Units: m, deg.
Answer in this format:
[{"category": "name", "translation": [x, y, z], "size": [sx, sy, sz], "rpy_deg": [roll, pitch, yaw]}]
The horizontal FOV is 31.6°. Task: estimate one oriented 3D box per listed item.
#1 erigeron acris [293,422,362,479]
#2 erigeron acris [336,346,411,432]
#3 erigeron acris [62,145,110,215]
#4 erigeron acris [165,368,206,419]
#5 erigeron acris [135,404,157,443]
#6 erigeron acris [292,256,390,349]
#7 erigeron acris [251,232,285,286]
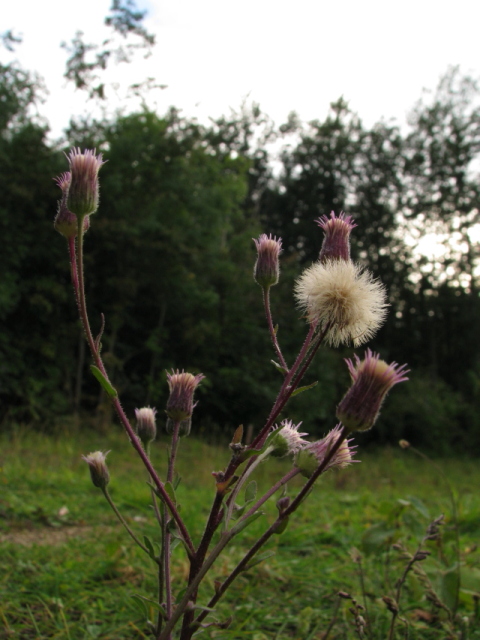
[{"category": "erigeron acris", "translation": [0.437, 0.594, 3.903], "size": [0.317, 0.149, 0.191], "rpy_deg": [-24, 40, -18]}, {"category": "erigeron acris", "translation": [0.573, 0.317, 3.733], "size": [0.265, 0.375, 0.246], "rpy_deg": [8, -5, 7]}, {"category": "erigeron acris", "translation": [-0.714, -0.637, 3.871], "size": [0.173, 0.269, 0.265], "rpy_deg": [10, -5, -13]}, {"category": "erigeron acris", "translation": [-0.280, 0.358, 4.021], "size": [0.161, 0.177, 0.232], "rpy_deg": [9, -4, -2]}, {"category": "erigeron acris", "translation": [-0.456, 0.514, 4.143], "size": [0.169, 0.205, 0.163], "rpy_deg": [-2, -11, -5]}, {"category": "erigeron acris", "translation": [0.467, -0.084, 3.934], "size": [0.441, 0.411, 0.216], "rpy_deg": [8, -5, 2]}, {"category": "erigeron acris", "translation": [0.126, -0.288, 4.130], "size": [0.156, 0.192, 0.258], "rpy_deg": [9, -4, 0]}]
